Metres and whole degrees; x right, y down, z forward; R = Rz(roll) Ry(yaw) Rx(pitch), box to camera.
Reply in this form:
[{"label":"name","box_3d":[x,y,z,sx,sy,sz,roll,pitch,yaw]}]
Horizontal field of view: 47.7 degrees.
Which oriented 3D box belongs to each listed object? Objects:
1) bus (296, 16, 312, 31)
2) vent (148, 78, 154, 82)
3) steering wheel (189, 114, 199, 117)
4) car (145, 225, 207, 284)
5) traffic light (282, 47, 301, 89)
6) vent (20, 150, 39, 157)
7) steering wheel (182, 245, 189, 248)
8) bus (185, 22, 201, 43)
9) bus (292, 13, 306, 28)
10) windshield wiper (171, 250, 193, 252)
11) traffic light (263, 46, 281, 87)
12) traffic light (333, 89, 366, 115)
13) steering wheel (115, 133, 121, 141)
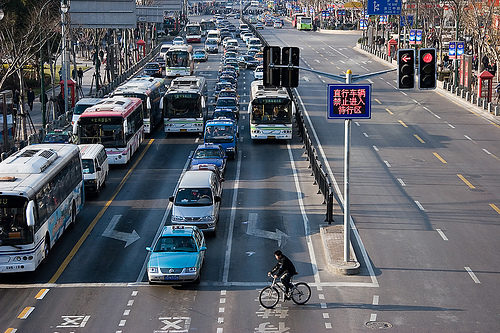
[{"label":"bus","box_3d":[14.187,-37.858,149.658,2.694,2.442,4.646,0,15,-4]},{"label":"vent","box_3d":[-10.010,-8.686,56.786,0.468,0.120,0.441,5,25,7]},{"label":"steering wheel","box_3d":[-5.082,-4.581,50.477,0.740,0.206,0.073,-1,15,3]},{"label":"car","box_3d":[-3.415,3.891,27.048,2.524,2.077,5.871,0,8,-3]},{"label":"traffic light","box_3d":[1.823,-4.525,25.789,0.767,1.867,1.344,0,15,3]},{"label":"vent","box_3d":[-11.478,-0.715,29.404,0.833,0.084,1.133,-2,15,21]},{"label":"steering wheel","box_3d":[-2.974,3.578,25.651,0.270,0.062,0.109,-5,17,-14]},{"label":"bus","box_3d":[-12.508,-29.068,123.148,4.644,5.005,14.586,-1,12,-3]},{"label":"bus","box_3d":[14.574,-42.785,164.537,2.785,4.103,8.309,-1,10,-2]},{"label":"windshield wiper","box_3d":[-3.131,3.757,25.442,0.718,0.078,0.091,-3,16,-5]},{"label":"traffic light","box_3d":[0.969,-4.544,25.724,0.820,1.765,0.586,-1,15,2]},{"label":"traffic light","box_3d":[4.454,-2.935,25.537,1.427,1.057,0.229,1,15,6]},{"label":"steering wheel","box_3d":[-9.751,-2.182,41.586,0.409,0.506,0.093,-6,15,-18]}]
